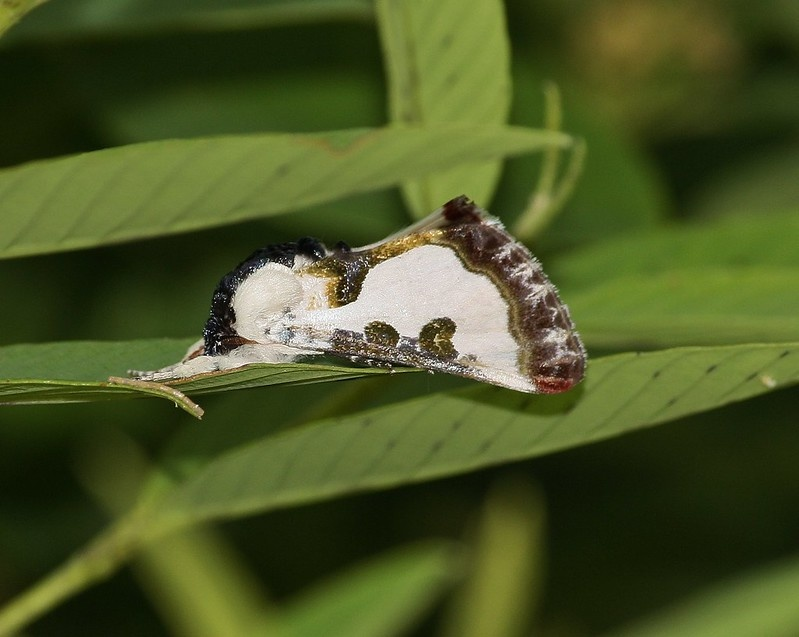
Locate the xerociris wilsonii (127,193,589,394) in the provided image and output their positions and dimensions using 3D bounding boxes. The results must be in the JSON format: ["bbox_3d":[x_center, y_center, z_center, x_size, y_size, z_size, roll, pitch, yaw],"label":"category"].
[{"bbox_3d":[-0.016,-0.013,0.622,0.299,0.171,0.054,-7,105,-9],"label":"xerociris wilsonii"}]
